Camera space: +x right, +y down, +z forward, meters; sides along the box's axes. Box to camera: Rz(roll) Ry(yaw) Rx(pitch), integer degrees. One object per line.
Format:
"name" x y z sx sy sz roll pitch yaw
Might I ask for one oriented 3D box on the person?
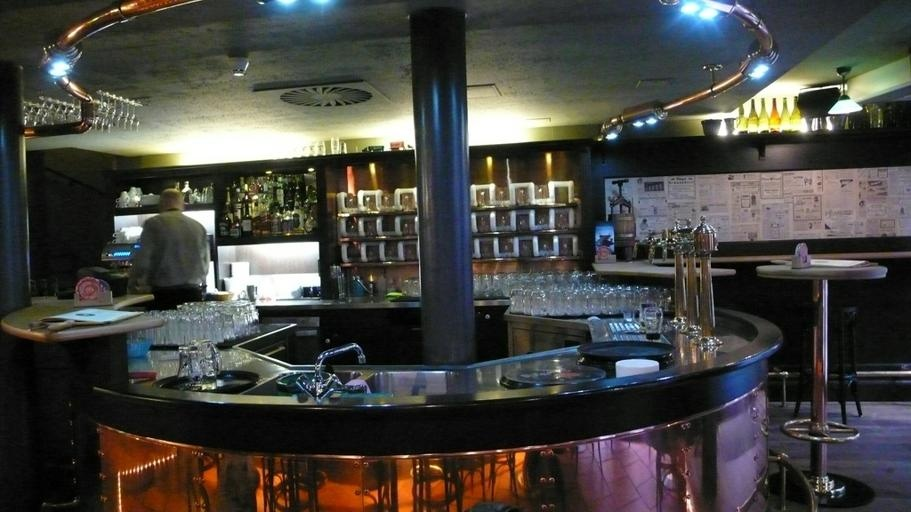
"person" -3.462 0.040 8.827 0.853 1.412 0.318 -2 0 -19

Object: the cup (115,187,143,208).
"cup" -5.006 -0.887 11.176 0.397 0.215 0.362 0 -1 0

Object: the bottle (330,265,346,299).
"bottle" -1.657 0.360 10.515 0.214 0.485 0.349 -2 0 25

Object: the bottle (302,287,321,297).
"bottle" -2.145 0.517 10.737 0.341 0.152 0.070 -1 1 33

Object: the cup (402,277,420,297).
"cup" -0.625 0.432 10.095 0.366 0.211 0.192 -2 -7 31

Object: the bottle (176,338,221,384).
"bottle" -2.131 0.893 6.205 0.388 0.372 0.370 0 -2 9

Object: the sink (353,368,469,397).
"sink" -0.327 1.054 6.169 0.477 0.159 0.428 0 -2 10

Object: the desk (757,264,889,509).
"desk" 3.729 1.244 7.454 1.036 1.872 1.488 -2 0 23

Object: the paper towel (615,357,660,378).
"paper towel" 1.450 0.893 5.837 0.343 0.117 0.296 -2 0 9
